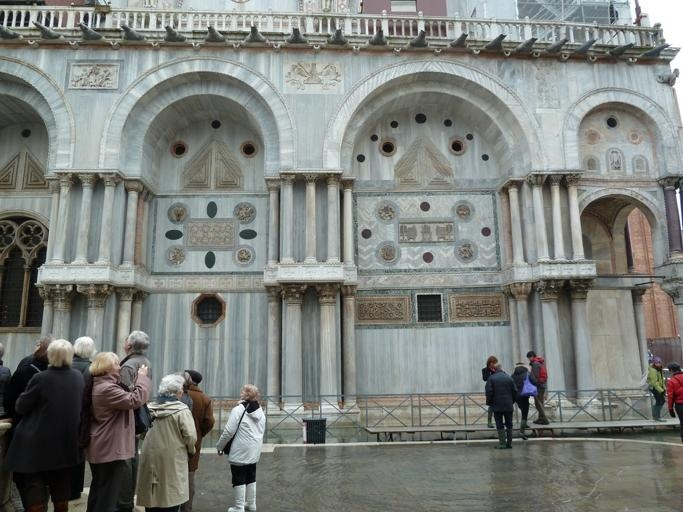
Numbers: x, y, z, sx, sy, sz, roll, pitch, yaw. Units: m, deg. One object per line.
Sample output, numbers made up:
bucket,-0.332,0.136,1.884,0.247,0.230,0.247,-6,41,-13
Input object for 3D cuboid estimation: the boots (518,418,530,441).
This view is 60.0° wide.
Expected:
boots,5.189,4.945,16.963,0.235,0.540,0.735,-4,-9,17

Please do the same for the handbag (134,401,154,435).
handbag,-3.387,2.766,10.120,0.273,0.576,0.571,-7,-14,2

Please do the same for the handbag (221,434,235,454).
handbag,-2.122,3.530,11.010,0.076,0.328,0.326,25,7,-4

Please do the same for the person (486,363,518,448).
person,4.186,3.925,15.590,0.720,2.144,0.859,-3,-9,13

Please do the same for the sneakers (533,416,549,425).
sneakers,6.028,4.981,17.986,0.239,0.207,0.492,0,-4,-3

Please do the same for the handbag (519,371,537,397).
handbag,5.322,3.673,16.908,0.505,0.642,0.310,6,-11,-43

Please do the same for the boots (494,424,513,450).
boots,4.236,4.743,15.571,0.520,0.640,0.530,-1,-3,-5
